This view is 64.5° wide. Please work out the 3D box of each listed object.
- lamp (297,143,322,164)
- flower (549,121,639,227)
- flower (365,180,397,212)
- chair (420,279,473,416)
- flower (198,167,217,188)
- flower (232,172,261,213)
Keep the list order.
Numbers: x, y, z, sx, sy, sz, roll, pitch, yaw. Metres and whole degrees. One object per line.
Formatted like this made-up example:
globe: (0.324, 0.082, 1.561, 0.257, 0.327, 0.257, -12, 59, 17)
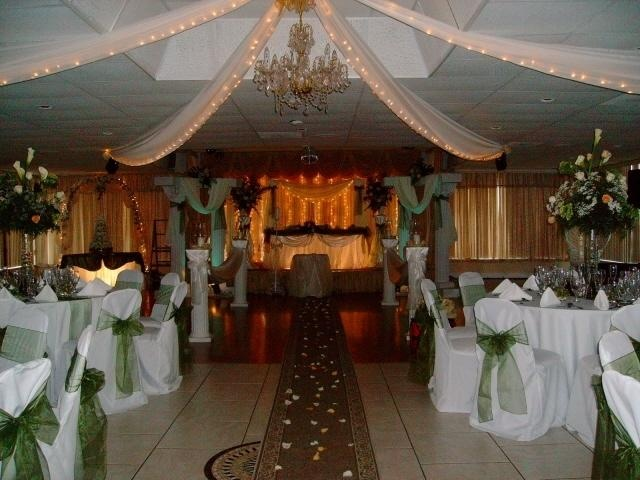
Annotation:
lamp: (-0.196, -1.758, 10.510, 0.390, 0.412, 0.405, -3, 5, -22)
flower: (2.851, -0.678, 5.465, 0.773, 1.133, 1.618, 1, 4, 20)
flower: (1.441, -1.136, 12.717, 0.658, 0.825, 0.668, 1, 4, 28)
chair: (1.255, 0.997, 4.739, 0.462, 1.107, 0.793, -1, 3, -3)
flower: (-2.445, -1.374, 11.079, 0.403, 0.425, 0.244, -3, 5, -41)
flower: (-1.725, -1.143, 12.169, 0.728, 0.891, 0.826, -2, 8, -10)
